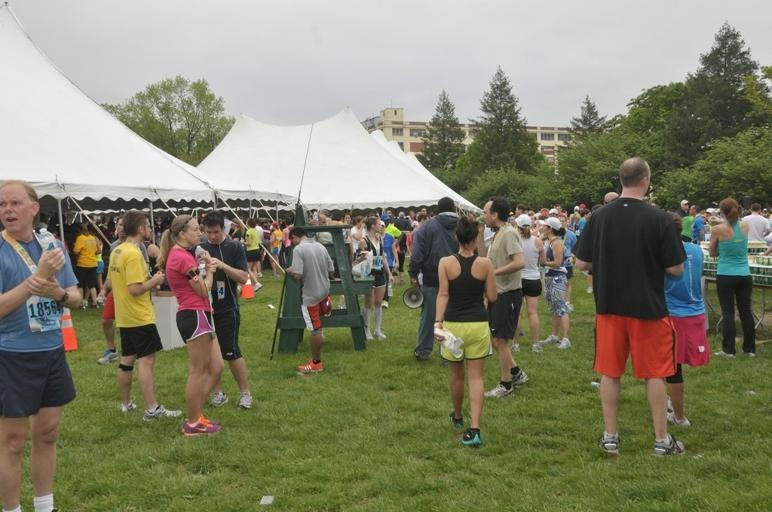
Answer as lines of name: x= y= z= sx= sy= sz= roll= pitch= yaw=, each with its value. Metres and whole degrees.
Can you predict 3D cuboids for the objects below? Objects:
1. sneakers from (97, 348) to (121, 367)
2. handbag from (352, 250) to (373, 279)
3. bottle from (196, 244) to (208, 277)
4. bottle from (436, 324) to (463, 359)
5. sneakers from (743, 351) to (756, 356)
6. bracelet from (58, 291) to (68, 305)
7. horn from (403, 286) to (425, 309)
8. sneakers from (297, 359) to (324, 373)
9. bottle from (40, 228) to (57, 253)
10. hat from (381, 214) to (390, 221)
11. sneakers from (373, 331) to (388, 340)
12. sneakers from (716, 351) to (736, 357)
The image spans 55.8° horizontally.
sneakers: x=-4.757 y=1.732 z=12.545 sx=0.168 sy=0.187 sz=0.405 roll=0 pitch=2 yaw=14
handbag: x=-0.448 y=0.187 z=14.130 sx=0.326 sy=0.508 sz=0.508 roll=10 pitch=38 yaw=20
bottle: x=-2.541 y=0.084 z=10.003 sx=0.144 sy=0.369 sz=0.269 roll=4 pitch=3 yaw=-13
bottle: x=0.758 y=1.123 z=9.433 sx=0.251 sy=0.163 sz=0.455 roll=-10 pitch=44 yaw=-38
sneakers: x=5.867 y=1.579 z=11.787 sx=0.144 sy=0.064 sz=0.063 roll=5 pitch=9 yaw=38
bracelet: x=-3.565 y=0.465 z=8.101 sx=0.111 sy=0.124 sz=0.083 roll=14 pitch=-13 yaw=31
horn: x=0.457 y=0.709 z=12.400 sx=0.346 sy=0.354 sz=0.265 roll=-28 pitch=-10 yaw=11
sneakers: x=-1.236 y=1.800 z=11.939 sx=0.319 sy=0.157 sz=0.197 roll=3 pitch=-5 yaw=-6
bottle: x=-3.818 y=-0.185 z=8.239 sx=0.075 sy=0.275 sz=0.170 roll=-35 pitch=-38 yaw=-4
hat: x=-0.023 y=-1.186 z=22.715 sx=0.297 sy=0.141 sz=0.396 roll=0 pitch=1 yaw=5
sneakers: x=-0.113 y=1.510 z=13.845 sx=0.232 sy=0.187 sz=0.094 roll=-2 pitch=9 yaw=12
sneakers: x=5.482 y=1.558 z=11.800 sx=0.276 sy=0.127 sz=0.103 roll=6 pitch=1 yaw=31
